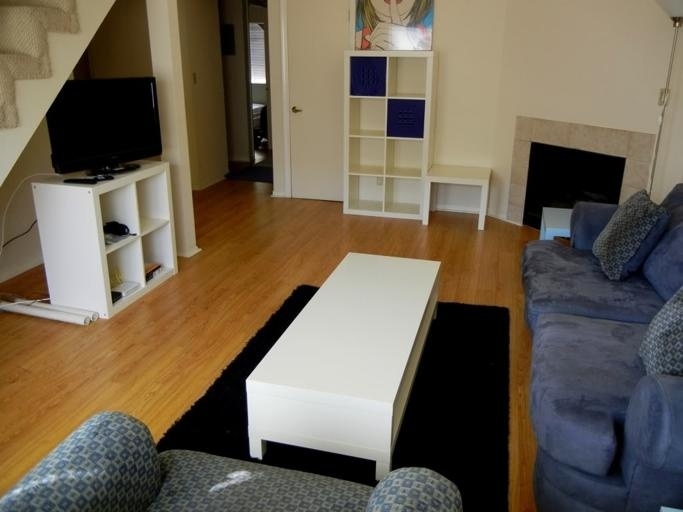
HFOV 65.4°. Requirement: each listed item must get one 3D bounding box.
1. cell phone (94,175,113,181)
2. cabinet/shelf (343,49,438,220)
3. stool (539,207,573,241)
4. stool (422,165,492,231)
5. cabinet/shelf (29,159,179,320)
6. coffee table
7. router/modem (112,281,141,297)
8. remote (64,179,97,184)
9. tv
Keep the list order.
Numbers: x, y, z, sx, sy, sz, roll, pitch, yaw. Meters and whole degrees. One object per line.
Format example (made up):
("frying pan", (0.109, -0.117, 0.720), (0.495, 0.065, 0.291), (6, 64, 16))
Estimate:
("cell phone", (-1.643, -0.540, 3.682), (0.114, 0.013, 0.132), (-5, 26, -24))
("cabinet/shelf", (0.533, -1.376, 5.776), (1.158, 2.163, 0.570), (17, 36, 25))
("stool", (1.712, -0.251, 4.261), (0.244, 0.175, 0.358), (3, 35, 17))
("stool", (1.268, -0.770, 5.822), (0.671, 0.550, 0.739), (7, 35, 14))
("cabinet/shelf", (-1.729, -0.111, 3.862), (0.429, 0.851, 0.876), (6, 29, 11))
("coffee table", (0.010, 0.151, 2.466), (0.696, 0.433, 1.776), (5, 27, 13))
("router/modem", (-1.618, 0.239, 4.006), (0.108, 0.026, 0.107), (12, 24, 29))
("remote", (-1.772, -0.508, 3.603), (0.148, 0.017, 0.087), (3, 17, 12))
("tv", (-1.669, -0.908, 3.730), (0.181, 0.467, 0.667), (9, 28, 14))
